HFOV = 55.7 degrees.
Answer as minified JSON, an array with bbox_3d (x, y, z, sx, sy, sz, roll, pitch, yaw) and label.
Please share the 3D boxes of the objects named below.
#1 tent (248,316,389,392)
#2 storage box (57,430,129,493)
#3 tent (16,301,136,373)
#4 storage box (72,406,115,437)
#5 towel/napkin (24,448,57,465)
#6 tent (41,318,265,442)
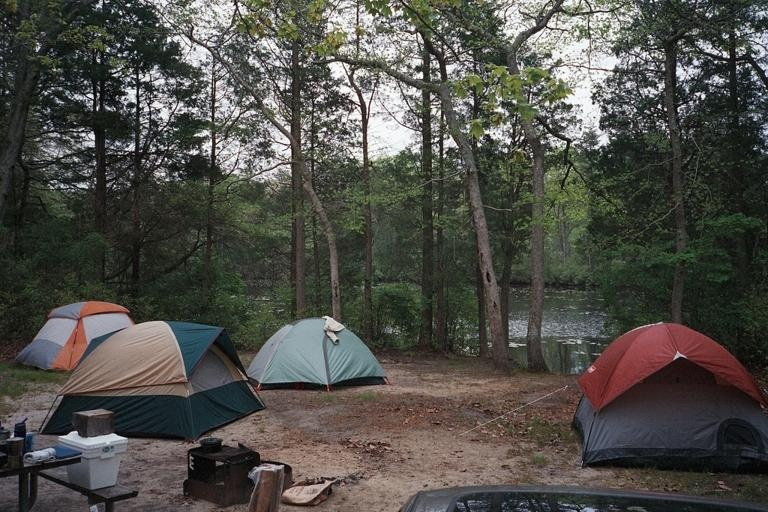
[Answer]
[{"bbox_3d":[-2.565,3.757,27.523,4.255,2.597,0.912,0,-6,-6],"label":"tent"},{"bbox_3d":[-8.016,5.564,19.807,1.446,1.417,1.784,4,-3,-43],"label":"storage box"},{"bbox_3d":[-12.189,3.628,29.871,3.150,2.048,3.725,0,-3,40],"label":"tent"},{"bbox_3d":[-7.961,4.540,19.770,0.791,0.610,0.771,2,0,-36],"label":"storage box"},{"bbox_3d":[-9.202,5.318,19.412,0.442,0.223,0.544,-1,-3,40],"label":"towel/napkin"},{"bbox_3d":[-7.473,4.147,24.123,4.378,2.853,4.408,-1,-1,11],"label":"tent"}]
